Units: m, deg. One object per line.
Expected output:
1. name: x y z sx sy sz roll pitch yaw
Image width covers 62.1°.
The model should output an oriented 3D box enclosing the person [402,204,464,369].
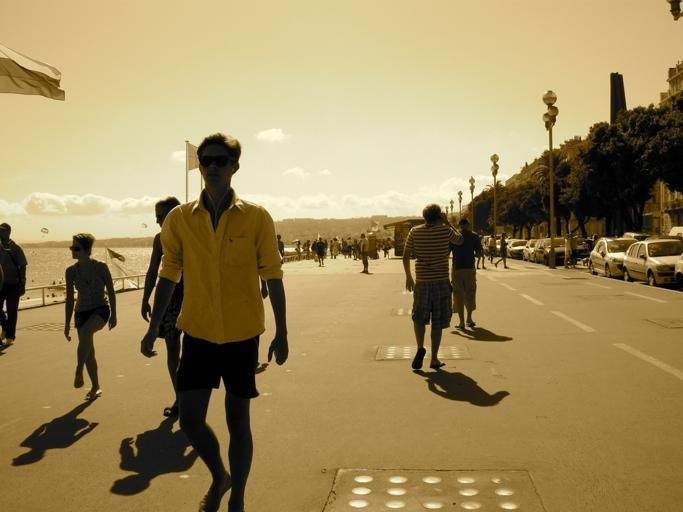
1. person: 1.229 0.417 7.789 0.689 2.229 0.440 -2 3 4

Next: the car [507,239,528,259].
1. car: 15.990 -0.613 51.359 1.129 1.191 2.738 -4 -3 4

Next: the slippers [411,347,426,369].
1. slippers: 1.057 1.401 7.737 0.137 0.363 0.140 9 -5 1

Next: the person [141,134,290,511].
1. person: -0.775 0.446 3.571 0.861 2.463 0.428 -2 3 -6

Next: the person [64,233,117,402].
1. person: -2.932 0.693 6.634 0.545 1.908 1.315 -3 3 -27

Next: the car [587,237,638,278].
1. car: 12.166 0.037 25.284 1.055 1.097 2.063 -1 -1 8

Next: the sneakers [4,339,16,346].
1. sneakers: -6.180 1.590 10.561 0.132 0.183 0.217 2 -6 -17

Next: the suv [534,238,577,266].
1. suv: 14.251 -0.374 38.503 1.237 1.338 2.857 -2 -4 6
